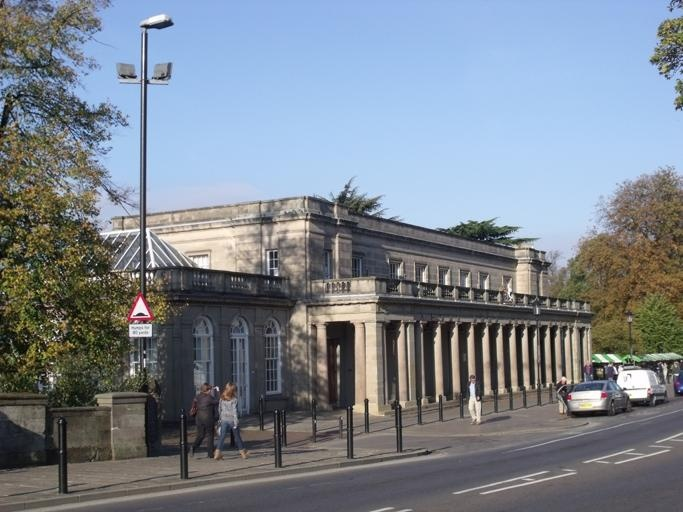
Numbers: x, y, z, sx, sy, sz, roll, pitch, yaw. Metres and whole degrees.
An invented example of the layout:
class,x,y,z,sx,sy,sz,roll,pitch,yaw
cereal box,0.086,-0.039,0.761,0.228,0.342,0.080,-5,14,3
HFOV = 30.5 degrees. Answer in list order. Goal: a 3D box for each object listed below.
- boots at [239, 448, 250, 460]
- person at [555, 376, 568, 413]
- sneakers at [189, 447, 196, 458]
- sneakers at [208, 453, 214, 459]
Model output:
class,x,y,z,sx,sy,sz,roll,pitch,yaw
boots,-3.100,6.268,39.652,0.177,0.323,0.473,-3,-19,3
person,9.660,6.080,54.731,0.431,1.511,2.115,-2,-1,9
sneakers,-4.734,6.261,39.666,0.154,0.472,0.183,-2,12,-10
sneakers,-4.156,6.322,39.624,0.201,0.148,0.113,0,-2,-3
